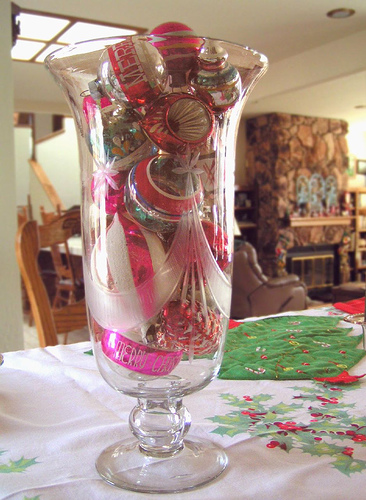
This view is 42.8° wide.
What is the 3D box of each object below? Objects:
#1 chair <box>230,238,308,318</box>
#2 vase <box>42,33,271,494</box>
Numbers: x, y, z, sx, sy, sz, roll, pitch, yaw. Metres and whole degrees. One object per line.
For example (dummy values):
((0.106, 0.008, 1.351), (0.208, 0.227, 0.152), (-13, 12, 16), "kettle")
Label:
((0.692, 0.254, 4.171), (0.810, 0.677, 0.714), (7, 13, 13), "chair")
((-0.028, 0.001, 0.449), (0.226, 0.410, 0.170), (-1, 4, 7), "vase")
